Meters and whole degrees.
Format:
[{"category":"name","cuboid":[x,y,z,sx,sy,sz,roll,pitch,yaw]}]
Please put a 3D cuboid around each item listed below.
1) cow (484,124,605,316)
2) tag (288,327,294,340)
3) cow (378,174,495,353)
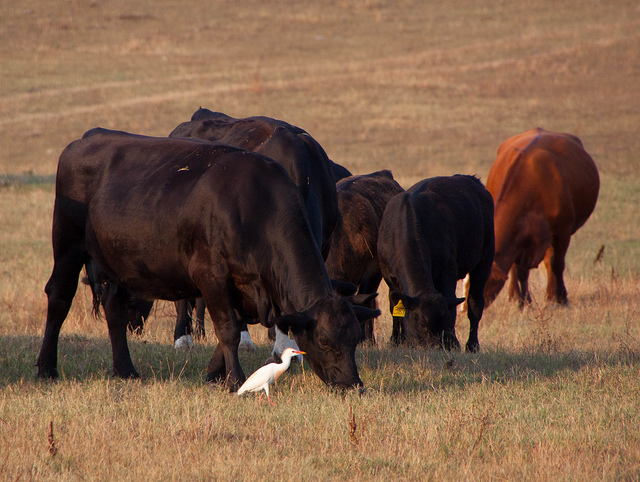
[{"category":"cow","cuboid":[8.245,-0.743,61.262,4.918,6.077,3.414,-6,10,-32]},{"category":"tag","cuboid":[-0.990,2.989,54.569,0.088,0.442,0.209,-5,27,-3]},{"category":"cow","cuboid":[4.186,0.430,57.488,3.045,6.844,3.877,3,11,-3]}]
